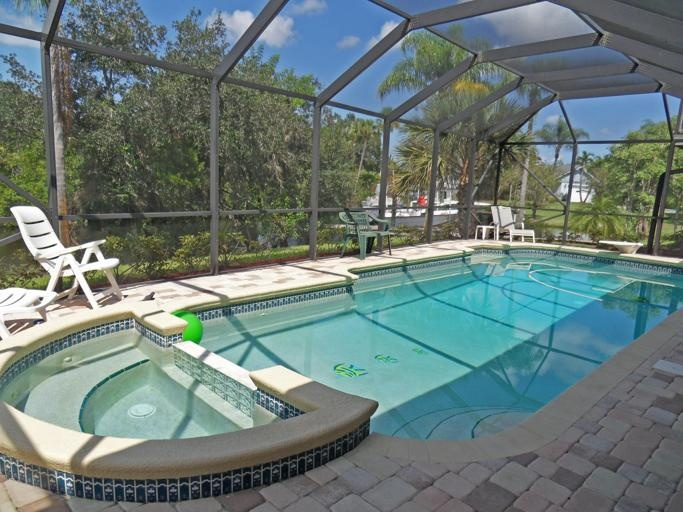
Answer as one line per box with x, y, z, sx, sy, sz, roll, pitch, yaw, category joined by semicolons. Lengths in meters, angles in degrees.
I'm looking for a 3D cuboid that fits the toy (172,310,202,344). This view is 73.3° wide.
-1.771;0.865;5.299;0.285;0.381;0.557;-4;10;-23;toy

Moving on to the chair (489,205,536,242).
5.016;-0.934;13.817;1.007;0.957;0.663;16;9;23;chair

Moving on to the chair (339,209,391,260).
0.520;-0.516;9.866;0.884;1.012;1.406;7;12;40;chair

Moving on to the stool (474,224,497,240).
4.278;-0.762;13.679;0.460;0.380;0.479;4;10;34;stool
